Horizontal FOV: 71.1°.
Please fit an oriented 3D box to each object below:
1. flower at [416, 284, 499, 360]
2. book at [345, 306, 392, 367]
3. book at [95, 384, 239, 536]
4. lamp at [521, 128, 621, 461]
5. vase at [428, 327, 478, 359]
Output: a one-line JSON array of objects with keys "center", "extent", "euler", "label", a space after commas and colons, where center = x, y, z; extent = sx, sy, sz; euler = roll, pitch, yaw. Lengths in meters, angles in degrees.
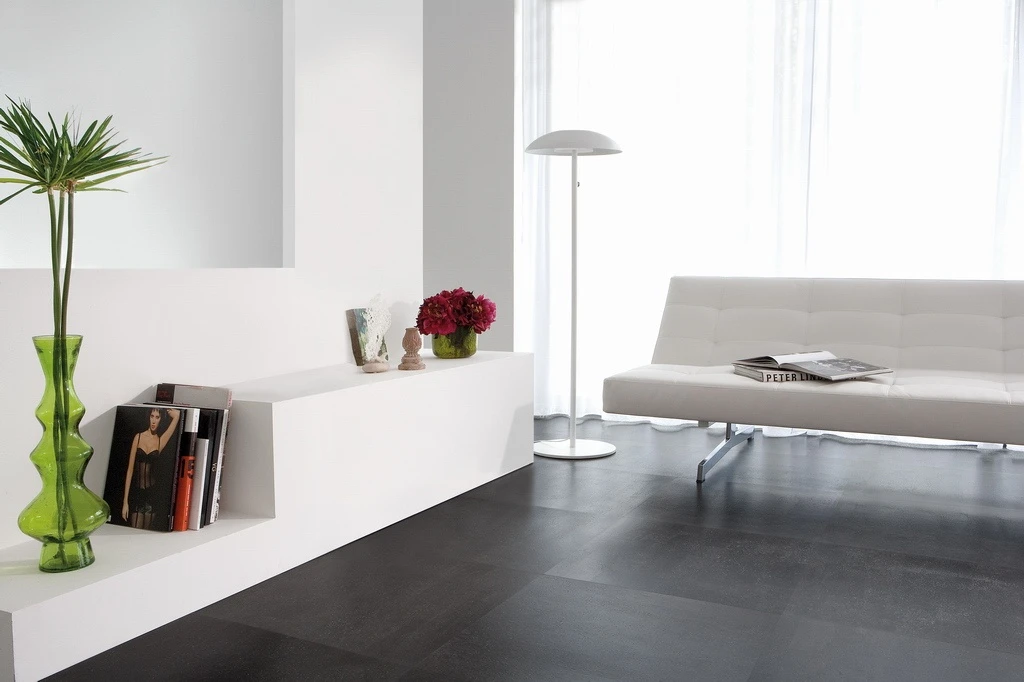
[{"center": [-0.305, -0.061, 3.510], "extent": [0.362, 0.320, 0.354], "euler": [5, -11, -31], "label": "flower"}, {"center": [-0.673, -0.024, 3.285], "extent": [0.177, 0.253, 0.119], "euler": [-3, 10, -15], "label": "book"}, {"center": [-1.131, 0.395, 2.568], "extent": [0.448, 0.578, 0.461], "euler": [3, -3, 35], "label": "book"}, {"center": [0.329, -0.301, 4.187], "extent": [0.515, 1.776, 1.098], "euler": [0, 10, 1], "label": "lamp"}, {"center": [-0.291, 0.017, 3.555], "extent": [0.161, 0.114, 0.152], "euler": [0, -8, -4], "label": "vase"}]
